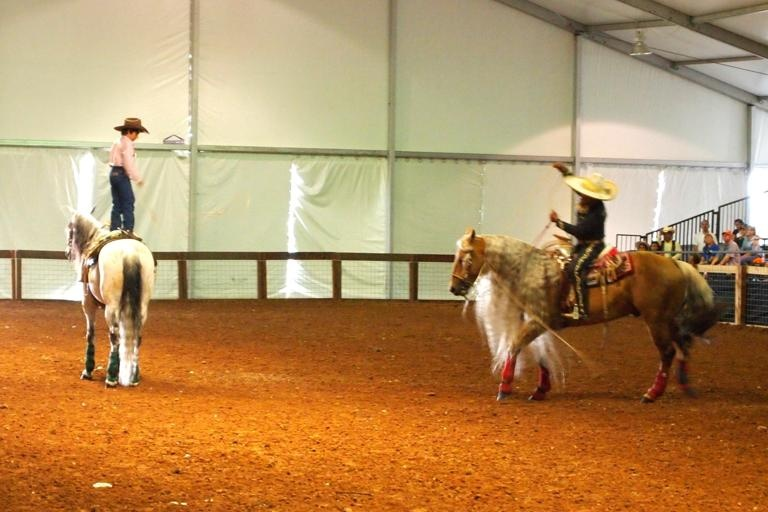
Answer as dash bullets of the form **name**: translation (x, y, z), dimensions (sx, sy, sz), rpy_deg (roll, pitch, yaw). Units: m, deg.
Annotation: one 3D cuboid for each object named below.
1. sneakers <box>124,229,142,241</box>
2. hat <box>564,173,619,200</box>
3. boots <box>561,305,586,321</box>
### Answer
- **sneakers**: translation (-4.087, -0.342, 14.158), dimensions (0.305, 0.095, 0.204), rpy_deg (17, -3, -18)
- **hat**: translation (3.249, -1.090, 13.698), dimensions (0.524, 0.141, 0.600), rpy_deg (37, 37, 29)
- **boots**: translation (2.937, 0.855, 13.664), dimensions (0.355, 0.233, 0.216), rpy_deg (-9, -7, 36)
